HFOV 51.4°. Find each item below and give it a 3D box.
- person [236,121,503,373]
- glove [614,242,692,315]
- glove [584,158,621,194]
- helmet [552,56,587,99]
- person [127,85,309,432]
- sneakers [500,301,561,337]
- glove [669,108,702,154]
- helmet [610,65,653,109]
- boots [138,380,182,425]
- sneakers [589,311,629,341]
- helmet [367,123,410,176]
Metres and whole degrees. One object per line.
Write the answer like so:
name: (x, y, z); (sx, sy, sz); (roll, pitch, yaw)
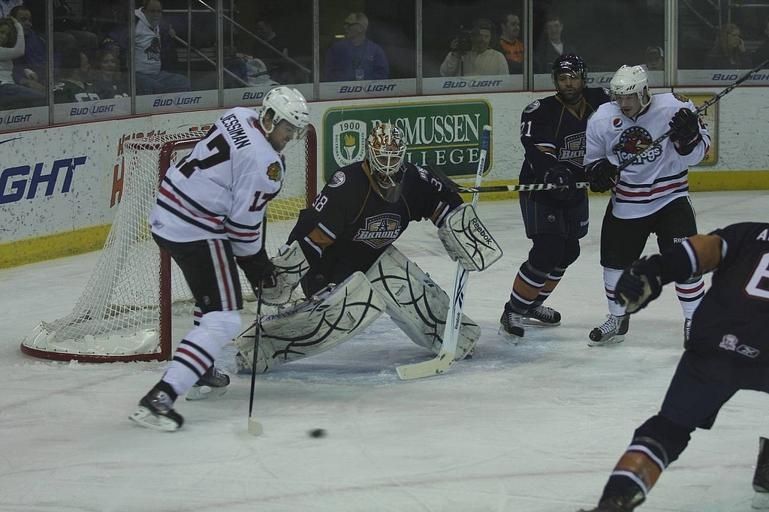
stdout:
person: (-0.146, -0.034, 4.761); (1.744, 1.438, 0.914); (0, 11, -24)
glove: (1.029, 0.072, 3.023); (0.333, 0.271, 0.100); (-2, 8, -17)
glove: (1.407, -0.497, 5.097); (0.167, 0.230, 0.086); (54, 17, 27)
helmet: (1.215, -1.168, 5.211); (0.213, 0.308, 0.232); (2, 8, 12)
person: (-0.820, -0.008, 4.007); (0.864, 1.683, 0.459); (0, 8, -6)
sneakers: (1.001, 0.446, 5.373); (0.518, 0.171, 0.206); (-6, -22, -15)
glove: (1.794, -0.750, 4.816); (0.105, 0.247, 0.196); (20, 30, 36)
helmet: (1.496, -1.056, 4.997); (0.217, 0.257, 0.285); (5, 25, 41)
boots: (-1.114, 0.731, 3.894); (0.252, 0.234, 0.116); (-1, 8, -14)
sneakers: (1.435, 0.459, 5.187); (0.353, 0.157, 0.119); (-3, 25, -37)
helmet: (0.011, -0.643, 4.572); (0.242, 0.246, 0.299); (-3, 32, -10)
